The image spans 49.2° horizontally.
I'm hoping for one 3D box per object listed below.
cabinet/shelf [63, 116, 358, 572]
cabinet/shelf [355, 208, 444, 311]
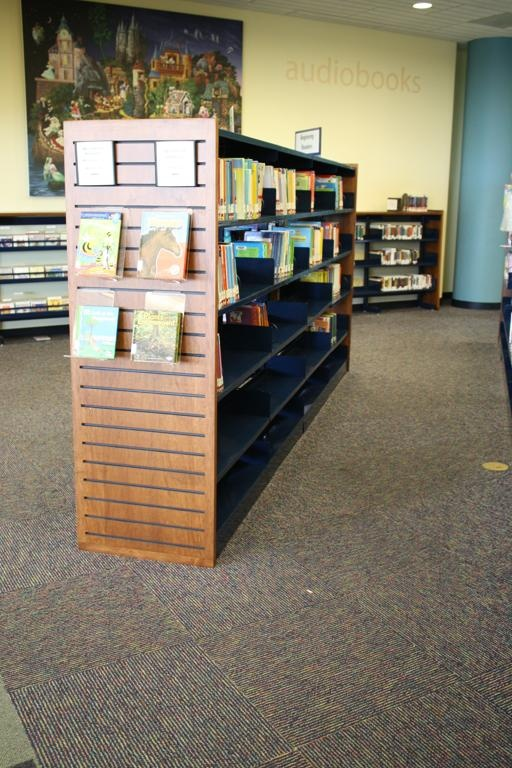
[{"bbox_3d":[0.075,-0.505,3.334,0.549,1.635,2.703,8,17,17],"label":"cabinet/shelf"},{"bbox_3d":[2.129,-1.831,8.372,1.521,1.439,0.591,-5,12,-23],"label":"cabinet/shelf"}]
